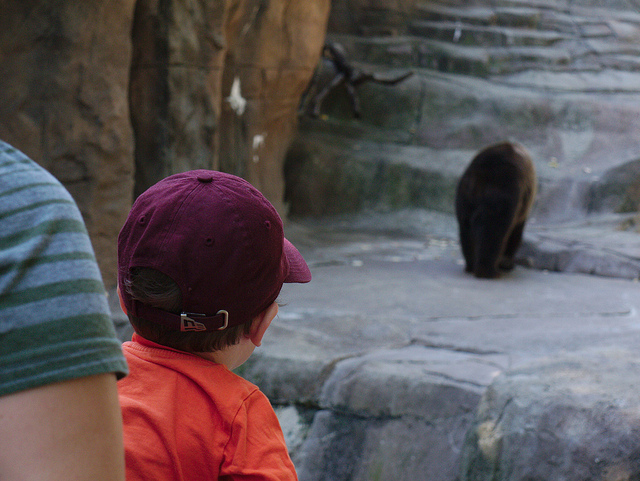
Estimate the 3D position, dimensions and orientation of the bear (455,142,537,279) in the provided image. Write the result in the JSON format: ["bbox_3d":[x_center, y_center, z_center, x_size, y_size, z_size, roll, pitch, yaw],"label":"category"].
[{"bbox_3d":[2.079,-0.513,20.097,0.951,1.568,2.114,2,7,-8],"label":"bear"}]
